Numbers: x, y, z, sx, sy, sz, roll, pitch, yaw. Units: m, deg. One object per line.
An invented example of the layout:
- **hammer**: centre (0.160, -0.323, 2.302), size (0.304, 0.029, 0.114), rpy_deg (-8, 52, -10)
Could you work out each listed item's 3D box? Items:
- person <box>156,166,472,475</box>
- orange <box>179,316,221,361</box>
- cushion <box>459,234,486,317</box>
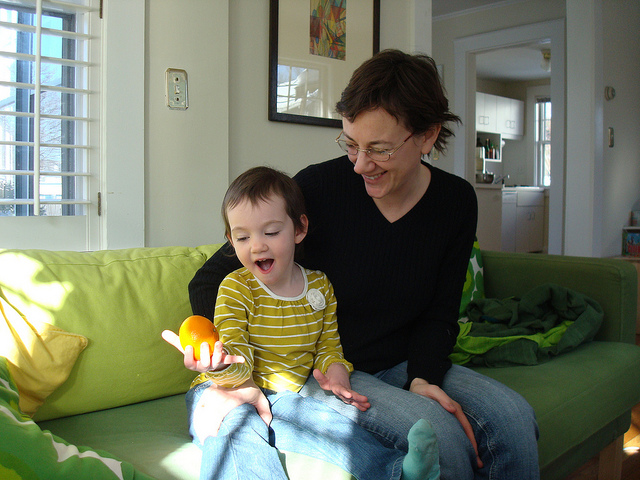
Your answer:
- **person**: centre (-0.073, 0.252, 1.487), size (0.661, 0.651, 0.838), rpy_deg (-8, 22, -23)
- **orange**: centre (-0.283, 0.233, 1.255), size (0.101, 0.097, 0.089), rpy_deg (-13, -21, 18)
- **cushion**: centre (0.719, 0.184, 2.464), size (0.094, 0.337, 0.344), rpy_deg (1, 34, 15)
